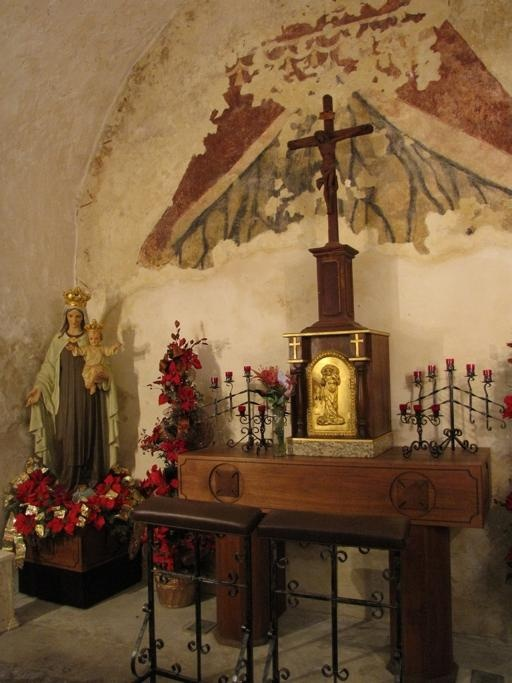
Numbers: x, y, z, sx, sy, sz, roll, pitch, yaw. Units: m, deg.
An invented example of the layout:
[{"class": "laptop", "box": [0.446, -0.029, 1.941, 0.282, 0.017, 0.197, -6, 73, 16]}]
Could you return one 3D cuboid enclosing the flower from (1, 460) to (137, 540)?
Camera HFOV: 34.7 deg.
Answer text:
[{"class": "flower", "box": [-1.332, 1.184, 5.984, 0.974, 0.510, 0.544, -1, -6, -8]}]
